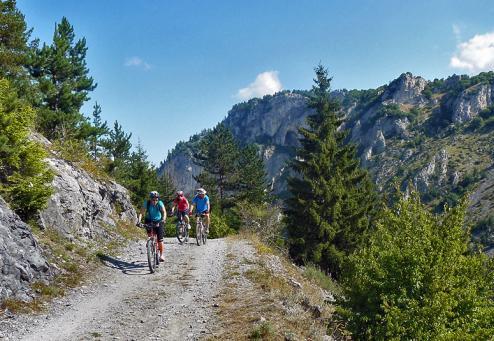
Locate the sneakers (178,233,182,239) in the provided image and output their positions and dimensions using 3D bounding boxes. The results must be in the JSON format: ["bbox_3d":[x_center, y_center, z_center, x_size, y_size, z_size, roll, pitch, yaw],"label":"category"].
[{"bbox_3d":[-4.924,4.752,35.406,0.228,0.287,0.452,2,-15,-24],"label":"sneakers"}]

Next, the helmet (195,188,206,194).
[{"bbox_3d":[-3.377,1.452,34.708,0.597,0.263,0.445,-1,3,29],"label":"helmet"}]

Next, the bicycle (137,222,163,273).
[{"bbox_3d":[-5.962,4.645,29.833,1.126,3.099,1.011,-5,-5,-24],"label":"bicycle"}]

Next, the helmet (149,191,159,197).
[{"bbox_3d":[-5.774,1.414,29.884,0.554,0.426,0.586,-7,-6,-17],"label":"helmet"}]
